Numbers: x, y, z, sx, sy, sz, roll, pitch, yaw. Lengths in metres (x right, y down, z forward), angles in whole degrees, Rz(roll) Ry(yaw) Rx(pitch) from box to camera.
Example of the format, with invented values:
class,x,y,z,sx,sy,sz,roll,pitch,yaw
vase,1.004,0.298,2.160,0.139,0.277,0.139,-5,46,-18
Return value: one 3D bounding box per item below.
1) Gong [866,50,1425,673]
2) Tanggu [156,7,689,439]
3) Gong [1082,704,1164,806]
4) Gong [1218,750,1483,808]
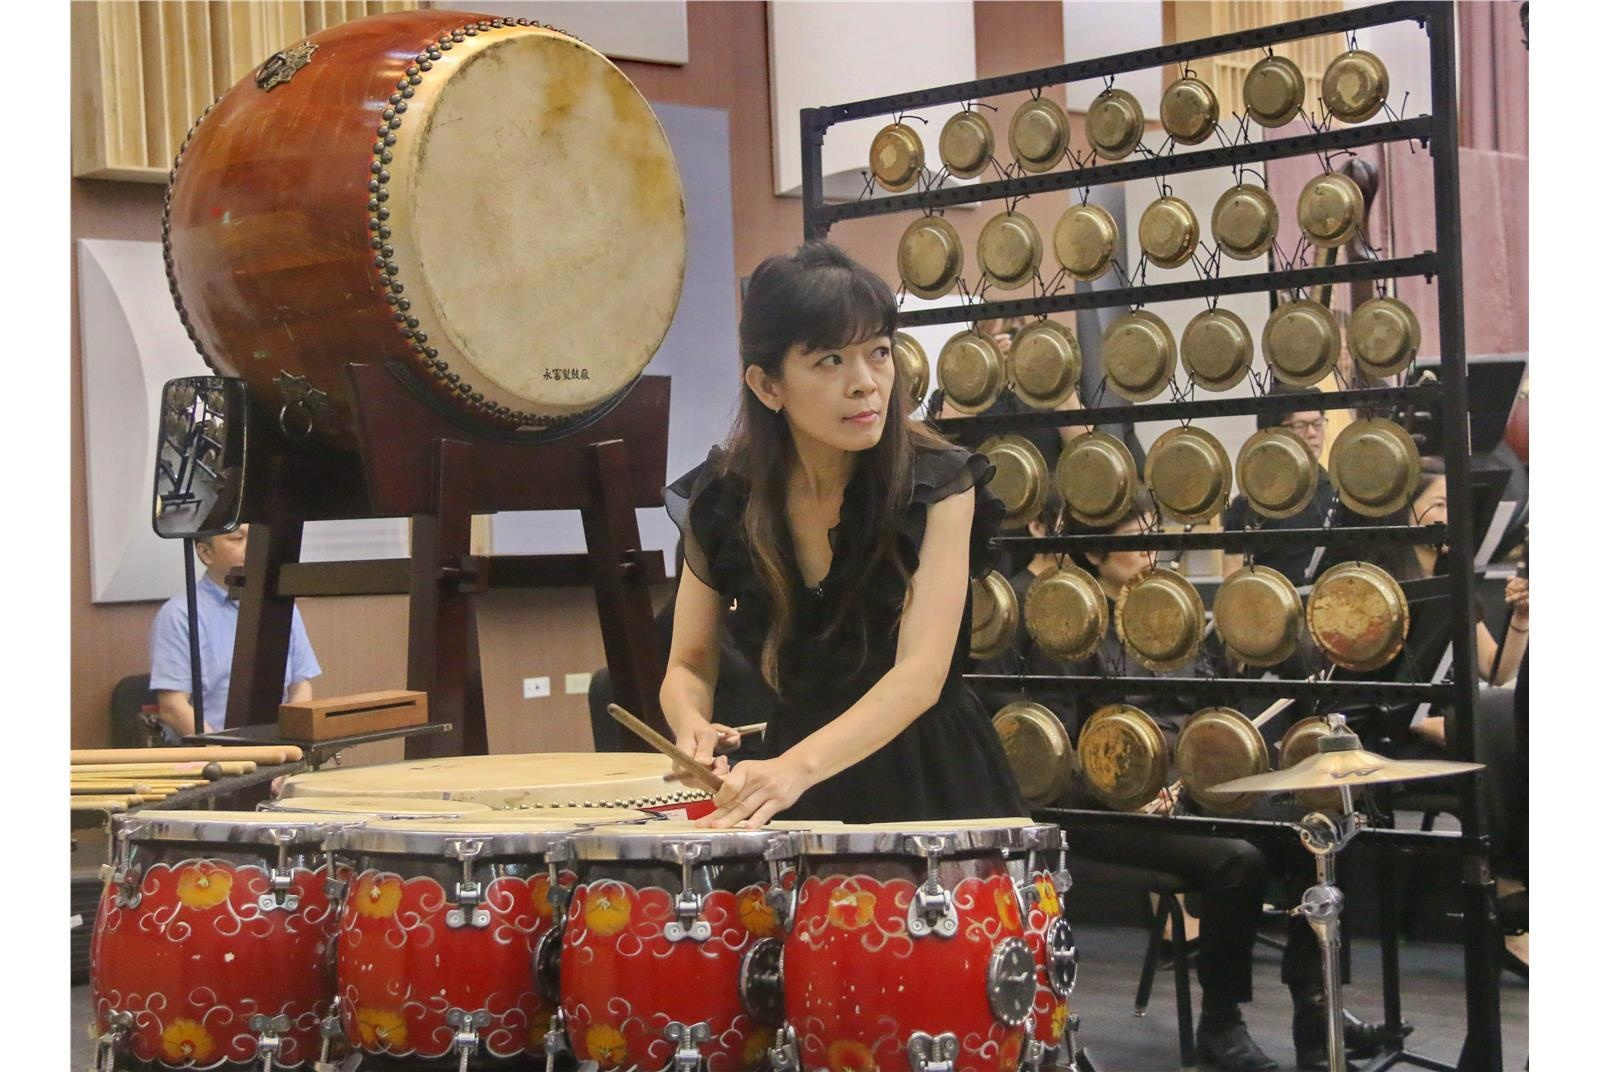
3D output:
class,x,y,z,sx,sy,sz,roll,pitch,yaw
Gong,1.299,-0.760,5.525,1.590,2.197,0.472,6,10,41
Tanggu,-1.095,-0.633,4.985,1.110,1.151,1.267,-10,-1,-39
Gong,1.042,0.707,5.585,0.292,0.312,0.070,-9,2,42
Gong,1.456,0.627,4.642,0.672,0.124,0.344,-3,-5,19
